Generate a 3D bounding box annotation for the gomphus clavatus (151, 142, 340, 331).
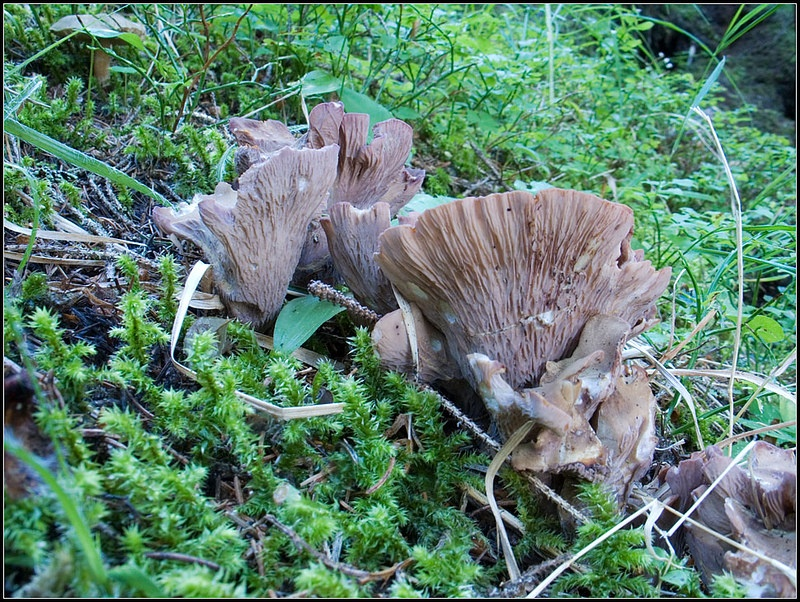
[{"bbox_3d":[-0.570,-0.264,2.872,0.760,0.774,0.772,-11,102,-39],"label":"gomphus clavatus"}]
